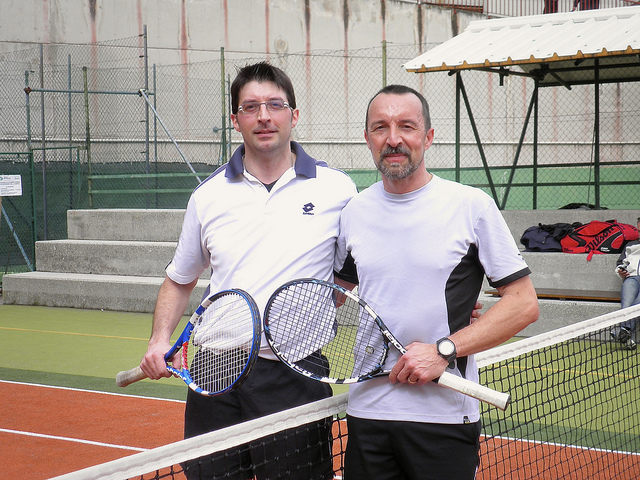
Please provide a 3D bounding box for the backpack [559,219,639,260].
[{"bbox_3d":[4.323,-0.044,11.905,0.662,0.360,0.780,-24,9,-42],"label":"backpack"}]

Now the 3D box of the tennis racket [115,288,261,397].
[{"bbox_3d":[-0.779,0.731,5.644,0.791,0.772,0.288,4,10,29],"label":"tennis racket"}]

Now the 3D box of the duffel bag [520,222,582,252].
[{"bbox_3d":[3.771,0.050,12.413,1.086,0.413,1.091,-1,19,21],"label":"duffel bag"}]

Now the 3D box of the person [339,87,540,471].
[{"bbox_3d":[0.773,0.266,5.551,1.221,2.693,0.614,-1,8,0],"label":"person"}]
